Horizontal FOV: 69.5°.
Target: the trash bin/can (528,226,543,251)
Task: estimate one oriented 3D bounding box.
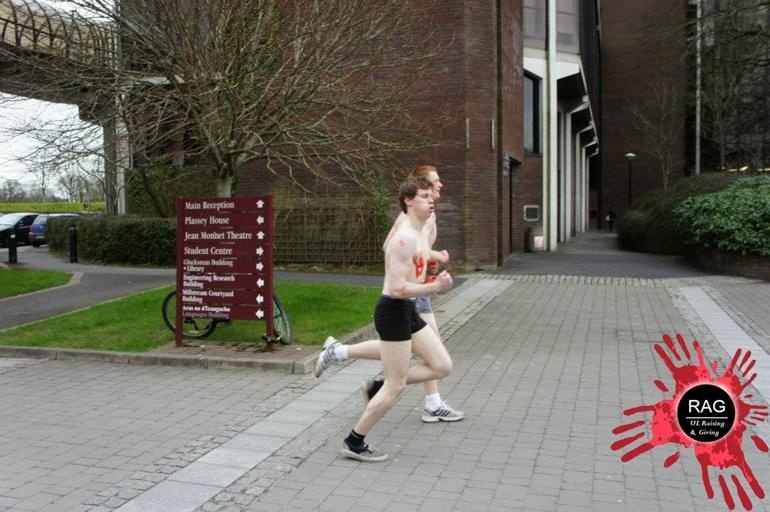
[{"bbox_3d":[6.580,-0.765,24.340,0.749,1.090,0.454,-7,5,-1],"label":"trash bin/can"}]

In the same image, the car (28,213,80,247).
[{"bbox_3d":[-15.577,-1.165,26.034,2.050,1.365,3.200,1,6,7],"label":"car"}]

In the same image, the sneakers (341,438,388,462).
[{"bbox_3d":[-0.207,1.834,5.260,0.446,0.157,0.172,8,2,0],"label":"sneakers"}]

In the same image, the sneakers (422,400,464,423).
[{"bbox_3d":[0.612,1.729,6.133,0.476,0.180,0.185,0,-3,0],"label":"sneakers"}]

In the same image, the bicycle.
[{"bbox_3d":[-2.676,1.039,9.549,2.223,1.073,1.024,-1,-2,7],"label":"bicycle"}]
